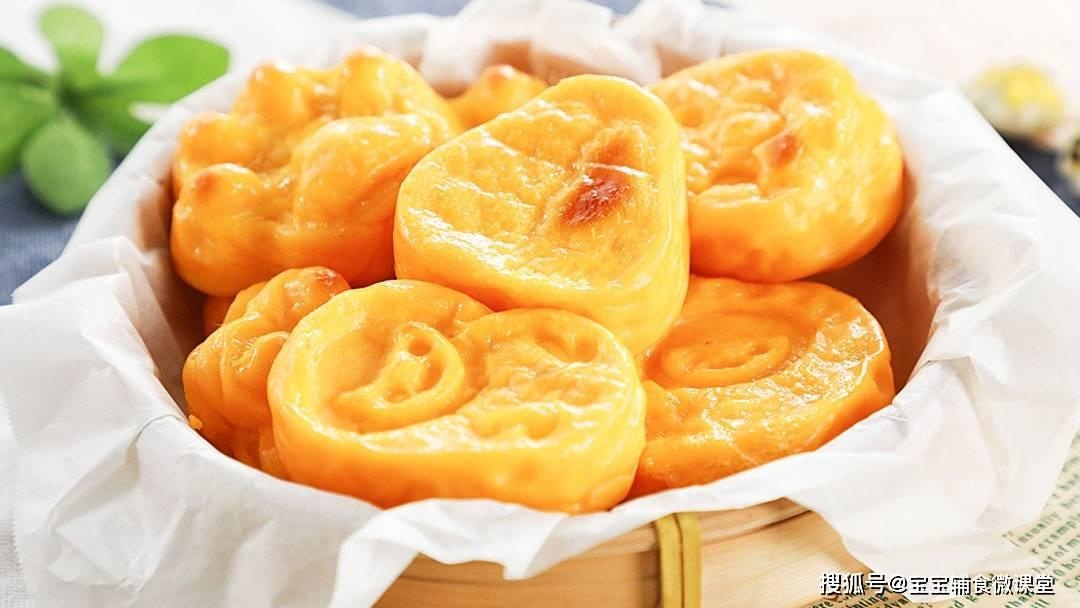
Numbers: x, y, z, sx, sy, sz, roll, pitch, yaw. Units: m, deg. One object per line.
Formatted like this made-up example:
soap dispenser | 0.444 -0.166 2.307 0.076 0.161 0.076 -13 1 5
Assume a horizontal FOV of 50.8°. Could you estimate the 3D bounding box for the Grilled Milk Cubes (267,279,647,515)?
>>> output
Grilled Milk Cubes | -0.103 0.116 1.399 0.450 0.110 0.282 2 55 5
